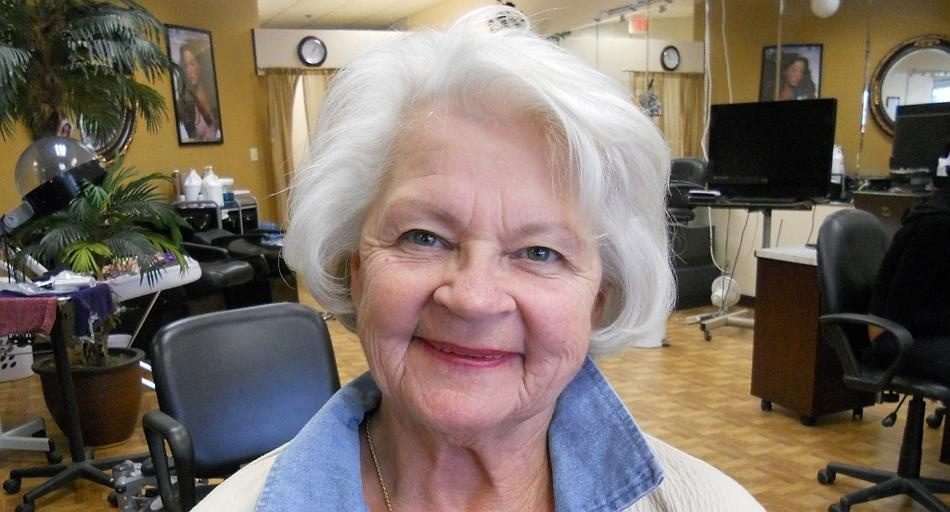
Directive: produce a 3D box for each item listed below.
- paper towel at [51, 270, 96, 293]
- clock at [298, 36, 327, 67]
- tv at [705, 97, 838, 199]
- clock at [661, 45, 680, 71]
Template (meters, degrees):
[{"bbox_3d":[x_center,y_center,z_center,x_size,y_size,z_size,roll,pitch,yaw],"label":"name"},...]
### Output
[{"bbox_3d":[-2.920,0.167,4.402,0.180,0.096,0.235,2,0,-22],"label":"paper towel"},{"bbox_3d":[-2.667,-3.313,10.007,0.463,0.436,0.449,-15,10,-26],"label":"clock"},{"bbox_3d":[3.056,-1.100,6.322,1.216,0.952,0.171,2,1,27],"label":"tv"},{"bbox_3d":[3.482,-3.533,10.931,0.428,0.402,0.094,2,9,-35],"label":"clock"}]
